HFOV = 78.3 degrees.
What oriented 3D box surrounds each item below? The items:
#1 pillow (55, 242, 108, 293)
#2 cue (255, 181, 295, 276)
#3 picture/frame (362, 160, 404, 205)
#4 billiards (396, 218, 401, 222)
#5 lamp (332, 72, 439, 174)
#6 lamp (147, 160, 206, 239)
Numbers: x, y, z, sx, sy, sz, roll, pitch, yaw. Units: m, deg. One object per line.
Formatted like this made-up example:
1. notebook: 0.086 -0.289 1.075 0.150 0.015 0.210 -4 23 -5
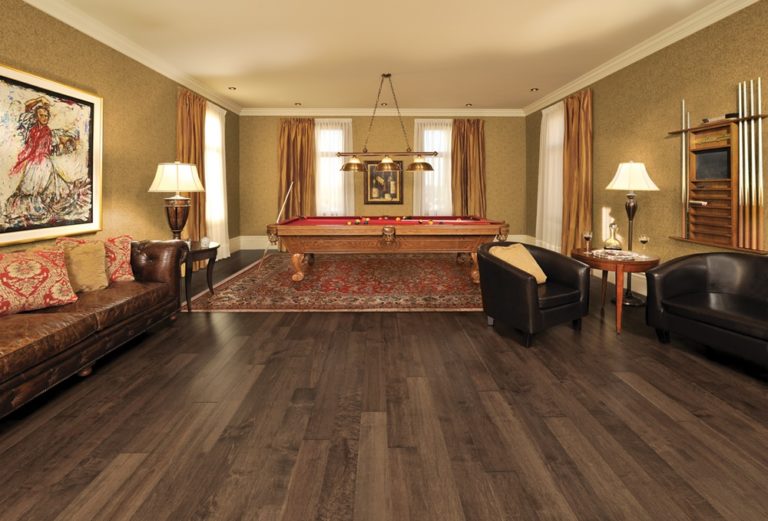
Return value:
1. pillow: -2.748 0.071 4.252 0.490 0.537 0.231 -1 -21 -47
2. cue: -1.879 -0.619 8.170 0.173 1.913 0.077 23 0 -11
3. picture/frame: -0.054 -1.461 8.830 1.062 0.921 0.072 0 4 -1
4. billiards: 0.221 -0.627 7.206 0.091 0.052 0.095 -1 13 -3
5. lamp: -0.020 -2.452 8.312 2.004 1.498 0.537 -2 14 -3
6. lamp: -2.538 -0.738 5.865 0.528 0.942 1.165 -6 15 -20
